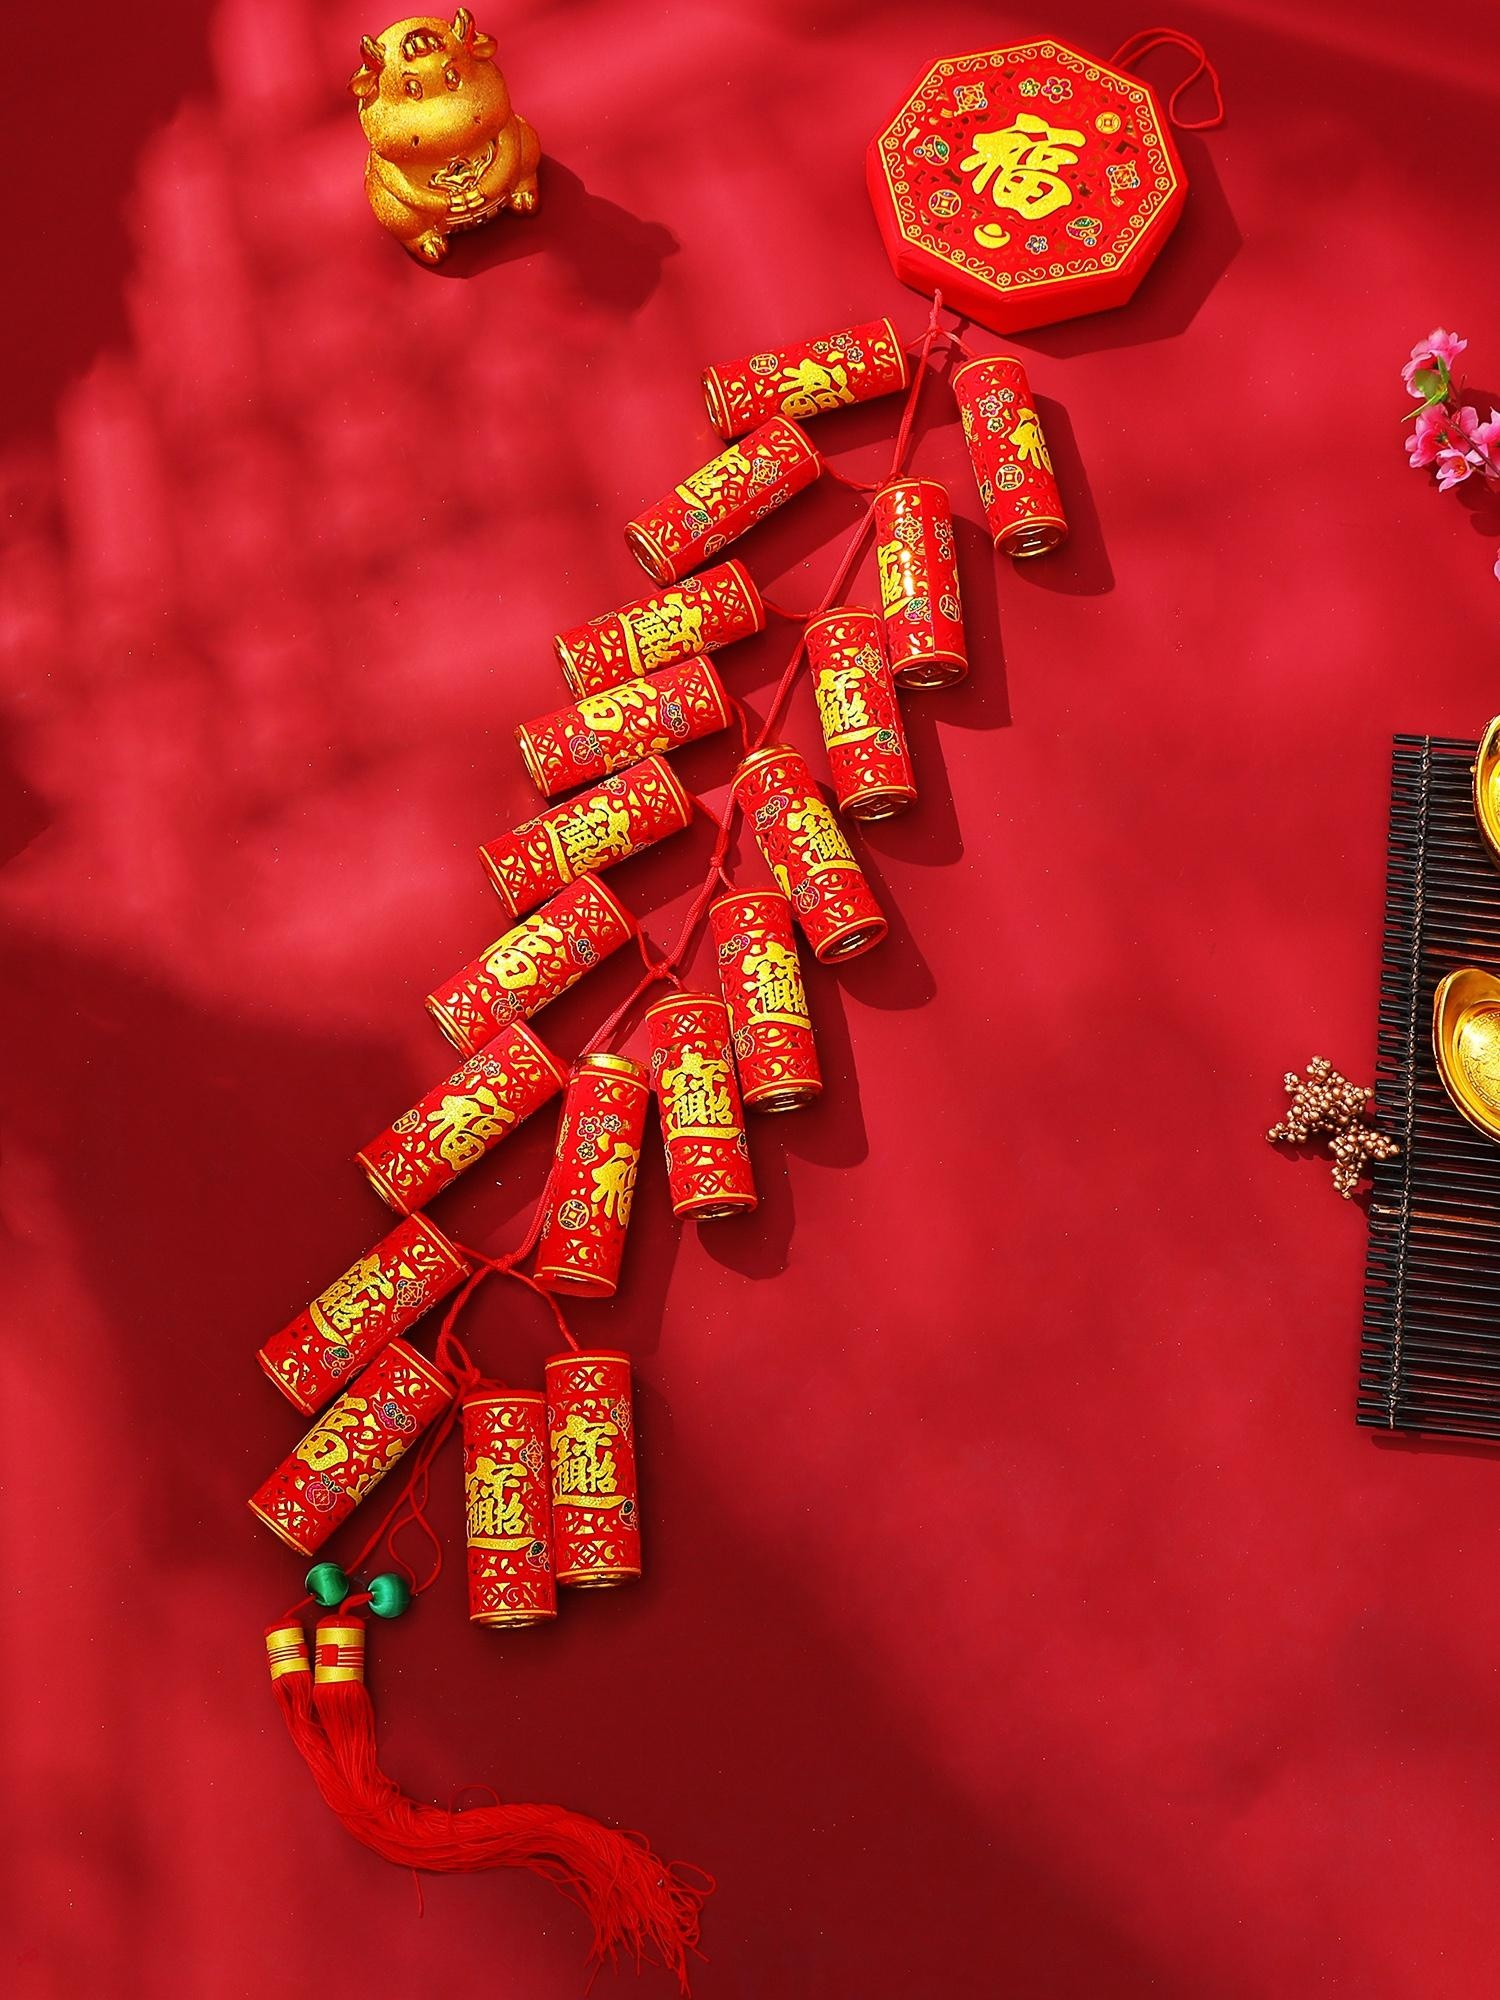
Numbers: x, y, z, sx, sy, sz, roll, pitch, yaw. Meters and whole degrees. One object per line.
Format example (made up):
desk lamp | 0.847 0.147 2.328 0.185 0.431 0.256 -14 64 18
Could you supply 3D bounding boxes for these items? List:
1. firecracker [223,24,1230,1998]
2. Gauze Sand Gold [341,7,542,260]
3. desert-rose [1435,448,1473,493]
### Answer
firecracker | -0.243 -0.166 2.595 0.999 1.109 2.262 13 58 16
Gauze Sand Gold | -0.390 -1.101 2.849 0.233 0.321 0.167 -18 43 -15
desert-rose | 0.887 -0.662 2.723 0.047 0.046 0.025 42 44 7
